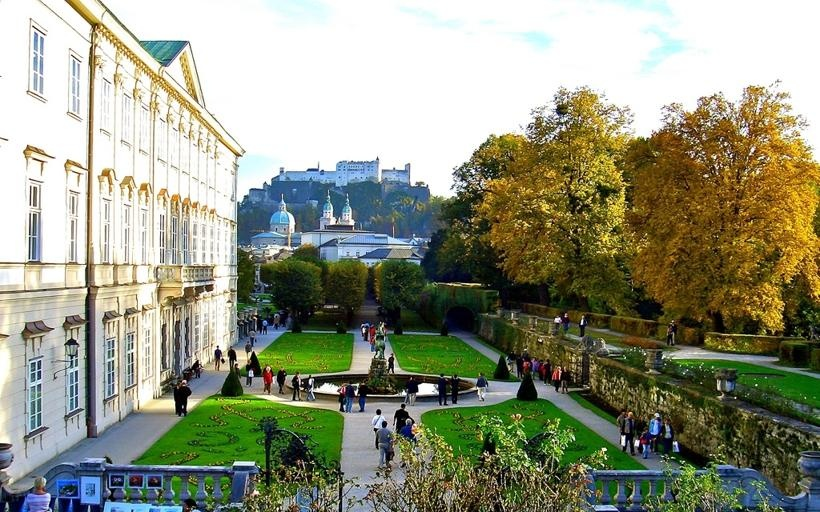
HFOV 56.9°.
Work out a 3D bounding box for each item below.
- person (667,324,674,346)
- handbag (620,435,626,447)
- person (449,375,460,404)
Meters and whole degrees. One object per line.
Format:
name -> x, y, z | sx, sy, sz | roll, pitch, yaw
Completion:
person -> 15.931, 4.781, 46.260 | 0.446, 1.282, 1.353 | 0, -2, 18
handbag -> 8.701, 7.506, 30.906 | 0.105, 0.505, 0.368 | 0, -2, -7
person -> 2.355, 6.860, 39.162 | 0.367, 1.420, 1.154 | 0, -2, -1
